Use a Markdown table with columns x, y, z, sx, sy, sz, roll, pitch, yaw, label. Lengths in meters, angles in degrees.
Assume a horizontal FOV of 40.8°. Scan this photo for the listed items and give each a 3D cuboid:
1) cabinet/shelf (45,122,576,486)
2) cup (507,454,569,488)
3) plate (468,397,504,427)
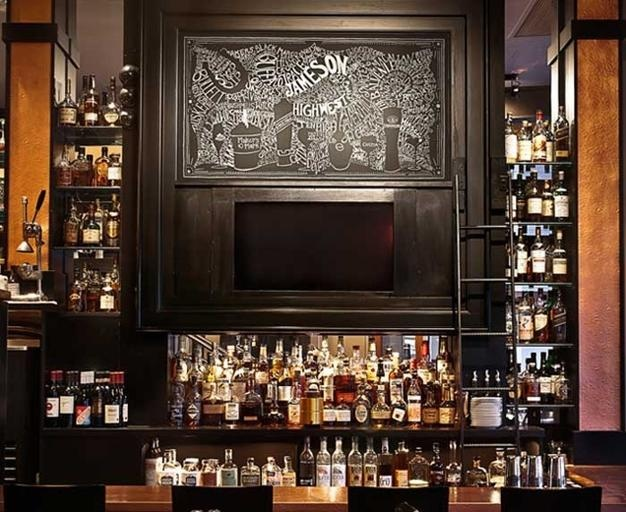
| x | y | z | sx | sy | sz | roll | pitch | yaw | label |
| --- | --- | --- | --- | --- | --- | --- | --- | --- | --- |
| -0.159 | 1.014 | 6.417 | 3.458 | 3.282 | 1.882 | 2 | -12 | -3 | cabinet/shelf |
| 1.102 | 1.058 | 4.125 | 0.221 | 0.203 | 0.088 | 0 | -3 | 13 | cup |
| 1.165 | 1.015 | 5.560 | 0.181 | 0.179 | 0.193 | 0 | 0 | 5 | plate |
